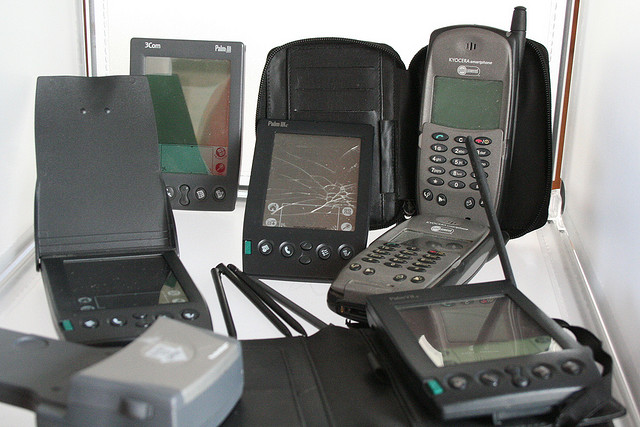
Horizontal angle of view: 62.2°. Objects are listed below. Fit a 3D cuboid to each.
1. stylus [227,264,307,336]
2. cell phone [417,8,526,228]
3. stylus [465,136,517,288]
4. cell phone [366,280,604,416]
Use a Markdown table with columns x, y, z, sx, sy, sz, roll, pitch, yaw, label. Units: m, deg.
| x | y | z | sx | sy | sz | roll | pitch | yaw | label |
| --- | --- | --- | --- | --- | --- | --- | --- | --- | --- |
| -0.076 | 0.133 | 0.793 | 0.164 | 0.015 | 0.011 | 35 | 13 | 31 | stylus |
| 0.236 | -0.156 | 0.862 | 0.152 | 0.333 | 0.130 | 5 | 20 | 19 | cell phone |
| 0.259 | -0.005 | 0.816 | 0.024 | 0.243 | 0.018 | -12 | -1 | -8 | stylus |
| 0.170 | 0.144 | 0.576 | 0.144 | 0.033 | 0.144 | -2 | 33 | -16 | cell phone |
